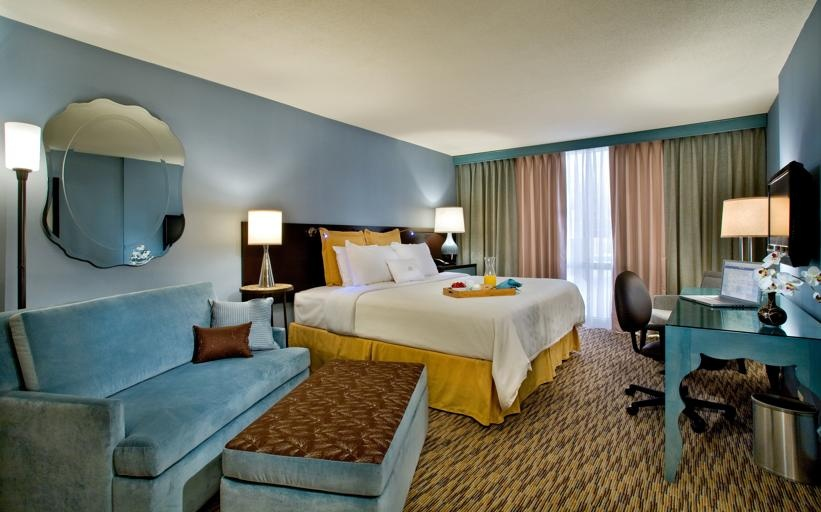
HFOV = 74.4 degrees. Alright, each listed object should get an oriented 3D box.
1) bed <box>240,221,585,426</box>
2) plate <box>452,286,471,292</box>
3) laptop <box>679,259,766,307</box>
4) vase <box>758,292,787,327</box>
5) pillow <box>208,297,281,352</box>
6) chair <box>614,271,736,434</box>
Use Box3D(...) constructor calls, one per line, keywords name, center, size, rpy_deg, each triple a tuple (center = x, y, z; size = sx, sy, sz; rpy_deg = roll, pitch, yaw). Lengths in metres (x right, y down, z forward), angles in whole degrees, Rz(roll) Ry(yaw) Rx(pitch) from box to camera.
Box3D(name="bed", center=(-0.035, 0.883, 5.700), size=(2.457, 1.241, 2.475), rpy_deg=(-2, -1, 27))
Box3D(name="plate", center=(0.515, 0.325, 5.372), size=(0.176, 0.031, 0.128), rpy_deg=(-5, 5, -19))
Box3D(name="laptop", center=(2.730, 0.269, 4.667), size=(0.406, 0.310, 0.525), rpy_deg=(0, -3, -1))
Box3D(name="vase", center=(2.754, 0.402, 4.083), size=(0.218, 0.246, 0.152), rpy_deg=(-3, 6, 11))
Box3D(name="pillow", center=(-1.472, 0.615, 4.926), size=(0.513, 0.491, 0.147), rpy_deg=(1, -20, -12))
Box3D(name="chair", center=(2.179, 0.849, 5.005), size=(1.349, 1.555, 1.345), rpy_deg=(-3, 0, 31))
